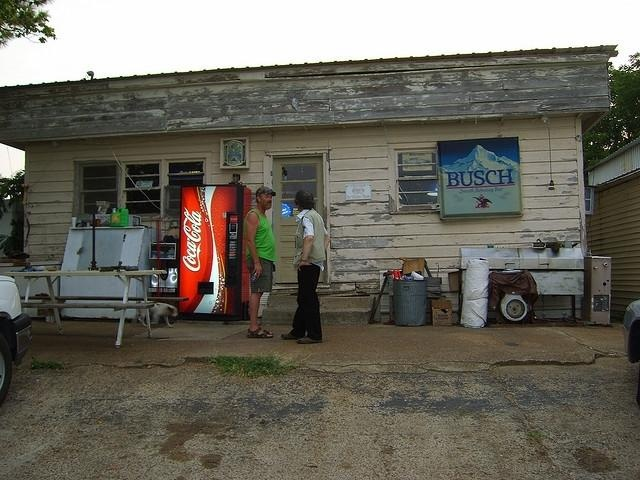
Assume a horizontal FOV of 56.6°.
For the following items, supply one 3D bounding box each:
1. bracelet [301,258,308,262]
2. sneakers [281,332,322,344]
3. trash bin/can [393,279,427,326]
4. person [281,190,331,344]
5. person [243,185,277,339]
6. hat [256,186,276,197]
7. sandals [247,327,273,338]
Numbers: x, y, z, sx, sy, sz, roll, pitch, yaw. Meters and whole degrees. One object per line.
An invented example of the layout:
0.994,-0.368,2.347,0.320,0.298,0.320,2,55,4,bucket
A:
-0.187,0.256,7.596,0.056,0.053,0.062,4,-4,-43,bracelet
-0.263,1.284,7.814,0.589,0.095,0.311,0,0,45,sneakers
1.317,1.007,9.554,0.742,0.684,0.684,1,-6,-3,trash bin/can
-0.170,0.340,7.804,0.551,1.982,0.477,0,1,-12,person
-0.803,0.309,7.973,0.394,2.050,0.464,0,1,-7,person
-0.749,-0.669,8.097,0.262,0.121,0.174,-5,-2,13,hat
-0.813,1.258,8.127,0.310,0.104,0.150,-1,-4,2,sandals
